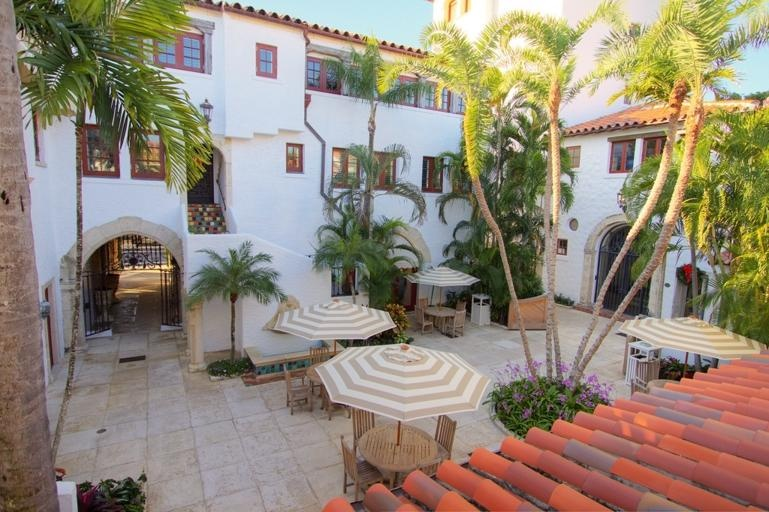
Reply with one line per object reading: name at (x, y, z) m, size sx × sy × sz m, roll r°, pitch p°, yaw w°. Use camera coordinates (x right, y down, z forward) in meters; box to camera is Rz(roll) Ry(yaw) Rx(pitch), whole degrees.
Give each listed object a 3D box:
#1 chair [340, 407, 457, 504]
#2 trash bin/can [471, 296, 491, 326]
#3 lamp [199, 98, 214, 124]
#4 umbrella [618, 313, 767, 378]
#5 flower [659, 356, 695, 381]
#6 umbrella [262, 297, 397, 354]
chair at (0.277, 4.180, 10.161) m, size 1.964 × 1.104 × 2.000 m, roll 1°, pitch 8°, yaw 0°
trash bin/can at (4.242, 2.411, 21.269) m, size 0.793 × 1.557 × 0.761 m, roll -9°, pitch 20°, yaw -30°
lamp at (-6.492, -5.300, 17.578) m, size 0.390 × 1.038 × 1.388 m, roll -3°, pitch 5°, yaw -21°
umbrella at (7.813, 2.047, 12.387) m, size 1.680 × 0.685 × 1.770 m, roll 8°, pitch 18°, yaw 28°
flower at (9.430, 3.653, 15.780) m, size 0.854 × 0.621 × 0.869 m, roll -4°, pitch 5°, yaw 0°
umbrella at (-1.389, 1.793, 13.381) m, size 3.051 × 0.976 × 1.493 m, roll -1°, pitch 4°, yaw 1°
